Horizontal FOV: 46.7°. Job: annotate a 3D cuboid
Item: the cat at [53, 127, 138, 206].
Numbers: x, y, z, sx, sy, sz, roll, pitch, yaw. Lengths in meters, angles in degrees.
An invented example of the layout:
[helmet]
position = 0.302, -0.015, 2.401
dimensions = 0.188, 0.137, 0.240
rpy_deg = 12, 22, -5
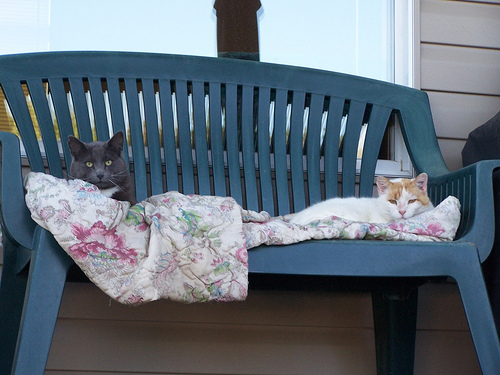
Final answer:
[cat]
position = -0.635, -0.068, 2.509
dimensions = 0.242, 0.370, 0.417
rpy_deg = -6, 14, -12

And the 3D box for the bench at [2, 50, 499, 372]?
[bench]
position = 0.016, 0.010, 2.127
dimensions = 1.958, 0.609, 1.285
rpy_deg = -3, 35, -6
